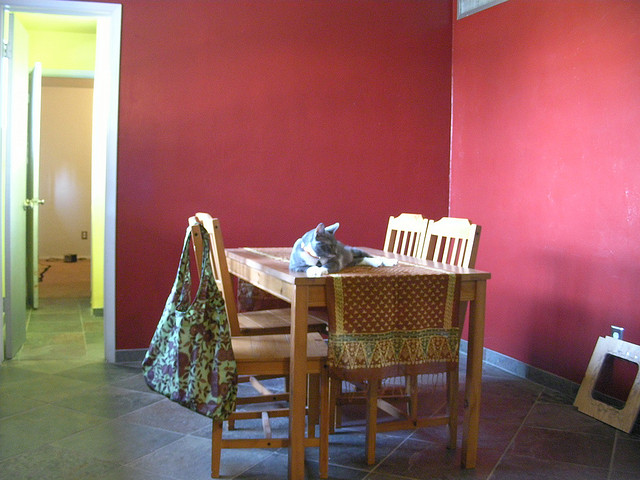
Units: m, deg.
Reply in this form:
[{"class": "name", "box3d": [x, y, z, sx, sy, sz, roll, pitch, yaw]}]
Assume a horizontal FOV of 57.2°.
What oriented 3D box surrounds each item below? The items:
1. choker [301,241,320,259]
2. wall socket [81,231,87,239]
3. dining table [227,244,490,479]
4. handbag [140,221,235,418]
[{"class": "choker", "box3d": [-0.046, 0.054, 3.167, 0.085, 0.027, 0.087, 9, 37, -53]}, {"class": "wall socket", "box3d": [-3.576, -0.076, 8.853, 0.097, 0.157, 0.014, 0, 7, -21]}, {"class": "dining table", "box3d": [0.240, 0.248, 3.431, 1.058, 1.044, 1.756, -2, 8, -21]}, {"class": "handbag", "box3d": [-0.683, 0.405, 3.036, 0.467, 0.980, 0.292, 7, 8, 44]}]
